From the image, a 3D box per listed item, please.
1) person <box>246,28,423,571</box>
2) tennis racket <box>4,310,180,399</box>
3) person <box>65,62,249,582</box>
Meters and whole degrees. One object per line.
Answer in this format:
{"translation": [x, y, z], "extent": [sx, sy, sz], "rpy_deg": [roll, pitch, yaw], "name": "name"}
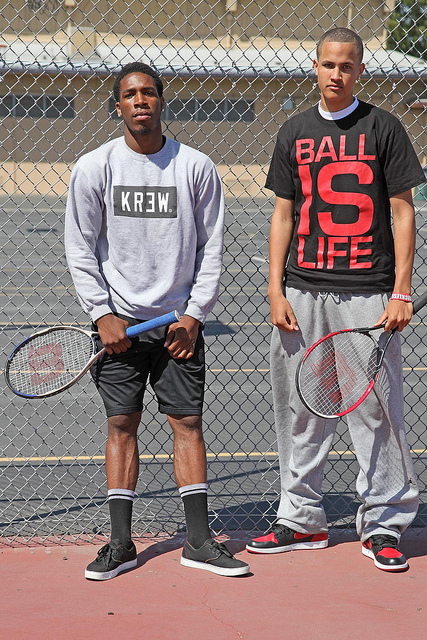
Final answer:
{"translation": [0.571, -0.080, 3.356], "extent": [0.618, 2.358, 0.673], "rpy_deg": [-2, 4, -35], "name": "person"}
{"translation": [-0.542, 0.159, 3.166], "extent": [0.663, 0.366, 0.328], "rpy_deg": [0, 3, -14], "name": "tennis racket"}
{"translation": [-0.261, -0.013, 3.252], "extent": [0.768, 2.219, 0.563], "rpy_deg": [2, 4, 13], "name": "person"}
